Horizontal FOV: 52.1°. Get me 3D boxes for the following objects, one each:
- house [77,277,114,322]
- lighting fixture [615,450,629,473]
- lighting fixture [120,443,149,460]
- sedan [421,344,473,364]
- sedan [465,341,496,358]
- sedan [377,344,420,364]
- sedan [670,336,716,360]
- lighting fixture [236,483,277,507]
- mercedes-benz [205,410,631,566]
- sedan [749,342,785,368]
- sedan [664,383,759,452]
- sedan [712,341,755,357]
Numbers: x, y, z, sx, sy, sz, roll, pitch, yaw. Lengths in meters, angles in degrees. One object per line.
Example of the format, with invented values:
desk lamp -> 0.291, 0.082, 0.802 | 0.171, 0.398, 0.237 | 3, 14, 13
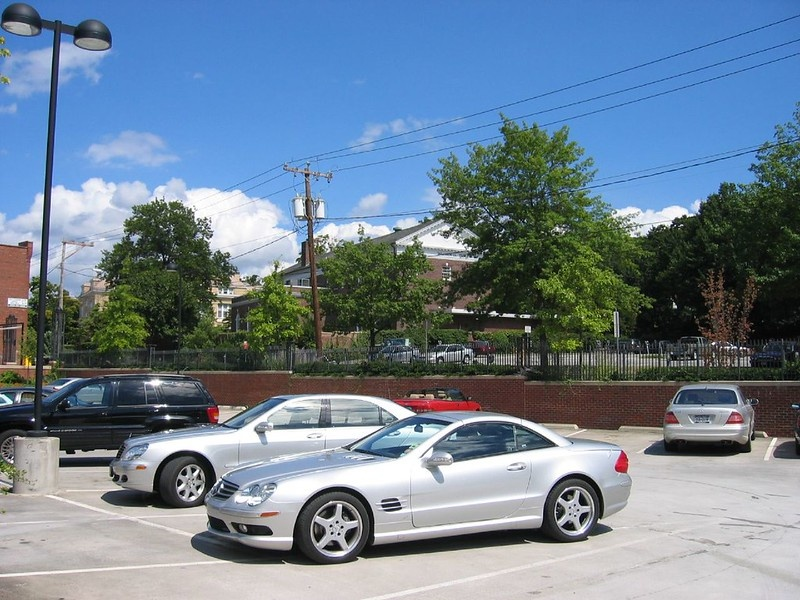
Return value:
house -> -35.556, 0.111, 95.270 | 2.601, 4.423, 6.573 | 1, -3, -28
lighting fixture -> 3.415, 2.460, 12.598 | 0.427, 0.164, 0.302 | 6, -6, -43
lighting fixture -> -4.555, 2.571, 13.958 | 0.542, 0.190, 0.207 | 0, -1, 29
sedan -> 1.895, 2.082, 31.702 | 1.745, 0.588, 0.792 | 0, -2, 40
sedan -> 3.008, 1.781, 30.141 | 0.818, 0.534, 1.298 | 1, -1, -17
sedan -> -0.060, 2.185, 33.349 | 0.467, 0.677, 2.219 | 1, -1, -42
sedan -> 9.152, 1.606, 25.773 | 1.269, 0.551, 0.979 | 0, -1, 17
lighting fixture -> -1.944, 2.581, 10.969 | 0.591, 0.284, 0.204 | 0, -1, 29
mercedes-benz -> 0.351, 2.594, 11.646 | 5.827, 1.856, 0.840 | 1, 0, -13
sedan -> 10.875, 1.628, 24.204 | 0.902, 0.728, 0.387 | 0, -1, 22
sedan -> 7.585, 2.931, 20.153 | 2.048, 1.679, 1.348 | 0, -1, 12
sedan -> 10.154, 1.517, 25.290 | 0.988, 0.415, 1.743 | 0, -1, 9
